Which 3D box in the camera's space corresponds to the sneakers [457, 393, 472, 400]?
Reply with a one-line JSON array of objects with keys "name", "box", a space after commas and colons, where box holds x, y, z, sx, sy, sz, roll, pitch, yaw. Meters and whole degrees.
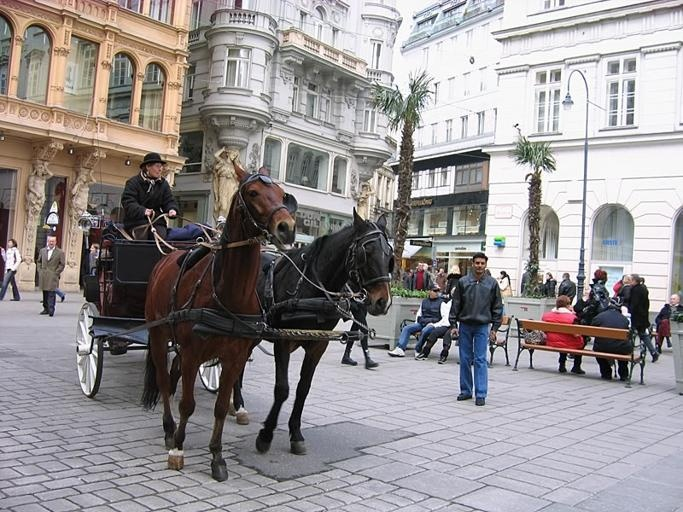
[{"name": "sneakers", "box": [2.230, 2.545, 12.038, 0.104, 0.126, 0.316, -6, -14, 40]}]

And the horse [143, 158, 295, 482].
[{"name": "horse", "box": [-1.602, 0.764, 8.024, 0.918, 3.608, 2.868, 7, -2, -33]}]

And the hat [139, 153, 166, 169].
[{"name": "hat", "box": [-3.048, -1.555, 10.682, 0.365, 0.165, 0.325, -6, 0, -28]}]

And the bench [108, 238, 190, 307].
[{"name": "bench", "box": [-3.148, 0.193, 10.389, 1.061, 0.805, 0.624, -1, 12, -6]}]

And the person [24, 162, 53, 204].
[{"name": "person", "box": [-12.557, -2.937, 27.346, 0.852, 2.177, 0.604, 6, -2, -25]}]
